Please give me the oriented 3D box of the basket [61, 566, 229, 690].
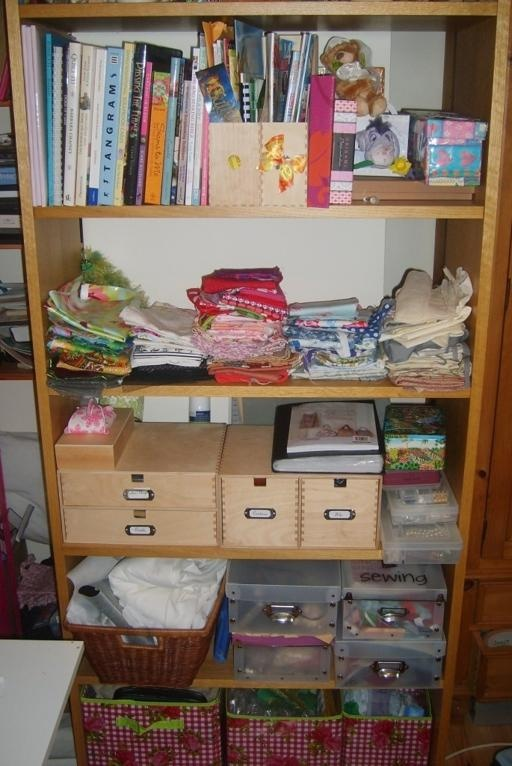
[{"bbox_3d":[-0.298,0.654,1.557,0.322,0.140,0.247,0,6,3],"label":"basket"}]
